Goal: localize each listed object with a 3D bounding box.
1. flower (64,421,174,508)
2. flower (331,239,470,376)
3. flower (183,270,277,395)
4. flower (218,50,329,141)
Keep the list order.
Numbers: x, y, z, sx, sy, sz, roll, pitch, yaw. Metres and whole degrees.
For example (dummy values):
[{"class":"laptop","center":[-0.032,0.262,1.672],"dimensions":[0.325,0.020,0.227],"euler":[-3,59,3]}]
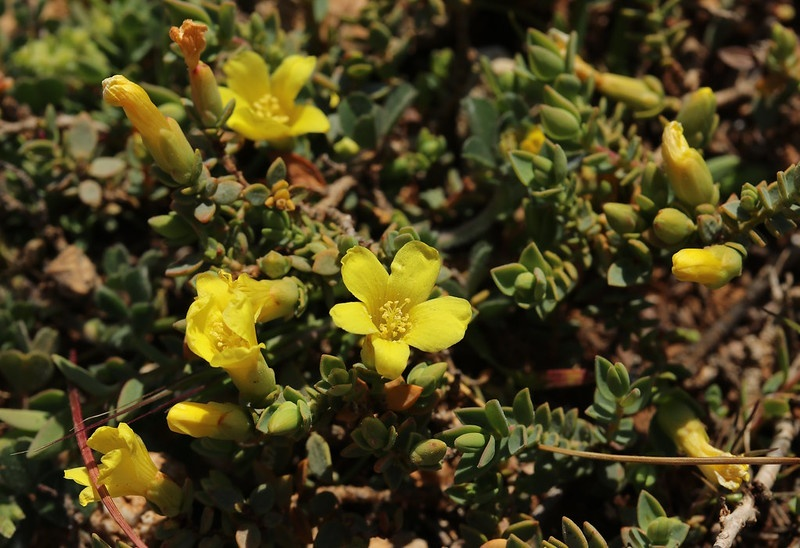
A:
[{"class":"flower","center":[-1.090,0.765,3.090],"dimensions":[0.319,0.353,0.378],"euler":[9,70,-8]},{"class":"flower","center":[-0.025,0.158,3.040],"dimensions":[0.511,0.268,0.520],"euler":[19,62,-14]},{"class":"flower","center":[-0.667,0.294,3.076],"dimensions":[0.311,0.555,0.348],"euler":[-8,40,-16]},{"class":"flower","center":[-0.560,-0.774,3.384],"dimensions":[0.385,0.209,0.423],"euler":[33,56,14]}]
